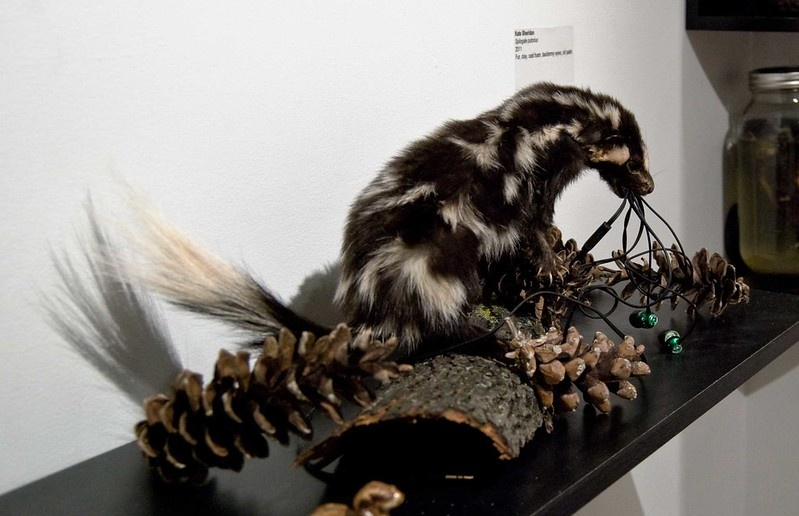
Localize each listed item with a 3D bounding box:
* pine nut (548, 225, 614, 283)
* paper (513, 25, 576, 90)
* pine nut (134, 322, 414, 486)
[{"bbox_3d":[0.267,-0.003,1.396,0.097,0.095,0.069,-14,27,-43],"label":"pine nut"},{"bbox_3d":[0.235,-0.326,1.456,0.025,0.103,0.158,14,28,43],"label":"paper"},{"bbox_3d":[-0.164,0.160,1.133,0.364,0.176,0.154,-8,0,-7],"label":"pine nut"}]
